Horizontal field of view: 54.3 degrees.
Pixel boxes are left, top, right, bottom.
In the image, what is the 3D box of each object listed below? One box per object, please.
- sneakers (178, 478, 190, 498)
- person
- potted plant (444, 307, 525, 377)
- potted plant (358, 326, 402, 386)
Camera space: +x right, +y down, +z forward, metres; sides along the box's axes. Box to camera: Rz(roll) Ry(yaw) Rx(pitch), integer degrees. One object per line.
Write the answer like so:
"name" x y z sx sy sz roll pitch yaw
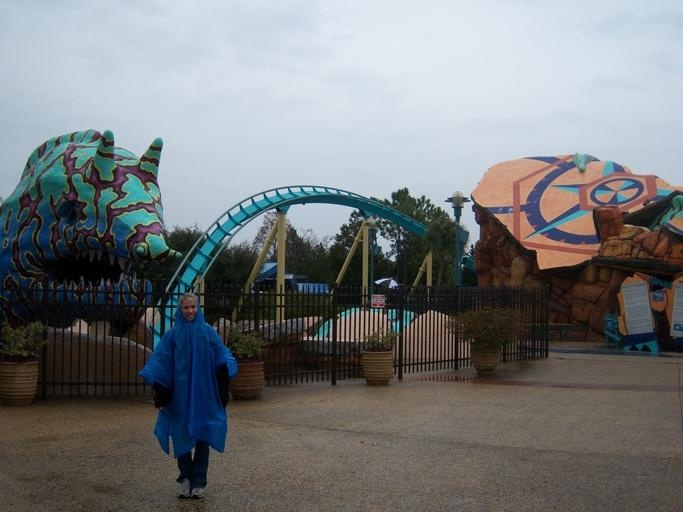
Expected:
"sneakers" -1.839 2.737 7.834 0.157 0.202 0.121 0 0 -3
"person" -1.804 1.645 8.033 1.034 2.389 0.601 0 0 -12
"potted plant" 3.863 2.216 17.466 1.476 1.736 0.953 0 0 -22
"potted plant" 0.922 2.361 15.523 0.669 1.234 0.930 0 0 37
